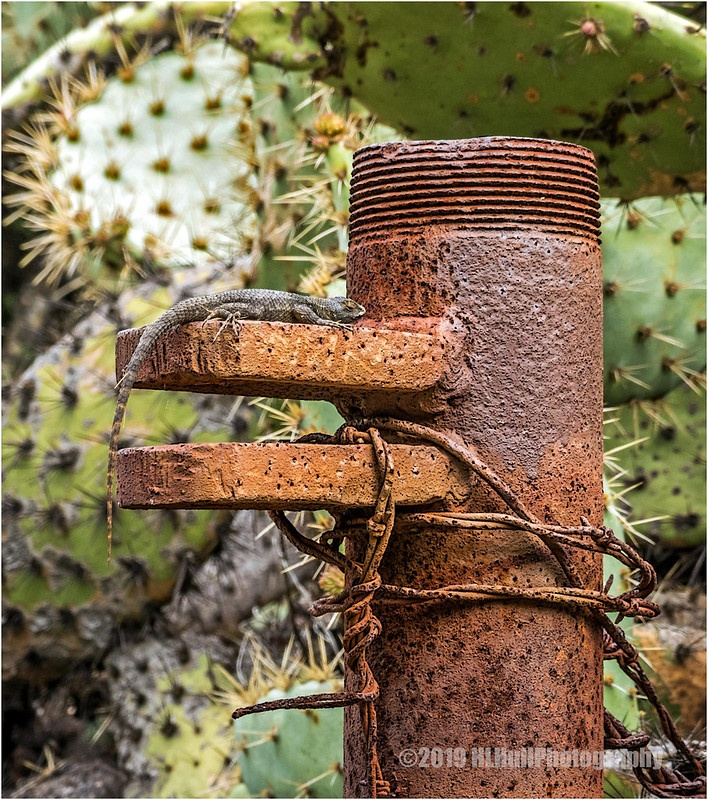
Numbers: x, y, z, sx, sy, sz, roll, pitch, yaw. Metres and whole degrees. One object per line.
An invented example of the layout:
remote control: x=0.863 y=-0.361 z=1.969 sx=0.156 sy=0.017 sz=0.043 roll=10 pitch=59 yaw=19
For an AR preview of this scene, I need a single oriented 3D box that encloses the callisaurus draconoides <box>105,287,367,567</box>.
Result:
callisaurus draconoides: x=-0.323 y=-0.078 z=4.079 sx=0.728 sy=0.168 sz=0.502 roll=10 pitch=103 yaw=22
